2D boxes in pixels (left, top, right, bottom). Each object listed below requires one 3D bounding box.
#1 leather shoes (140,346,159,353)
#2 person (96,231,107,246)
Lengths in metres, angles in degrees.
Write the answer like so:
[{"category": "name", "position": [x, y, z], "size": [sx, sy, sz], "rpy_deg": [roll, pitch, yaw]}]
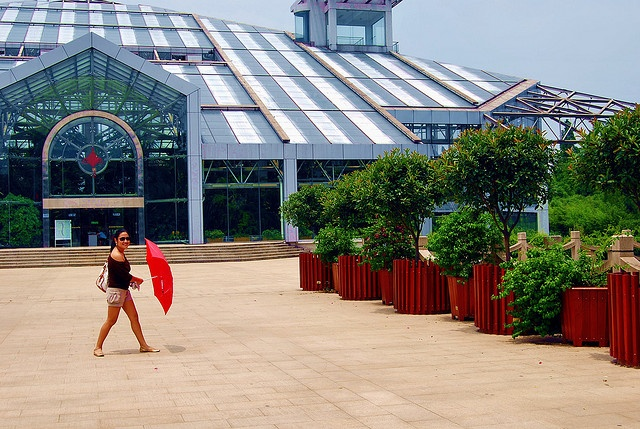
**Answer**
[{"category": "leather shoes", "position": [-4.691, 3.708, 22.796], "size": [0.532, 0.189, 0.176], "rpy_deg": [-1, 0, 0]}, {"category": "person", "position": [-14.891, 1.668, 56.771], "size": [0.665, 0.833, 0.254], "rpy_deg": [-1, -3, -22]}]
